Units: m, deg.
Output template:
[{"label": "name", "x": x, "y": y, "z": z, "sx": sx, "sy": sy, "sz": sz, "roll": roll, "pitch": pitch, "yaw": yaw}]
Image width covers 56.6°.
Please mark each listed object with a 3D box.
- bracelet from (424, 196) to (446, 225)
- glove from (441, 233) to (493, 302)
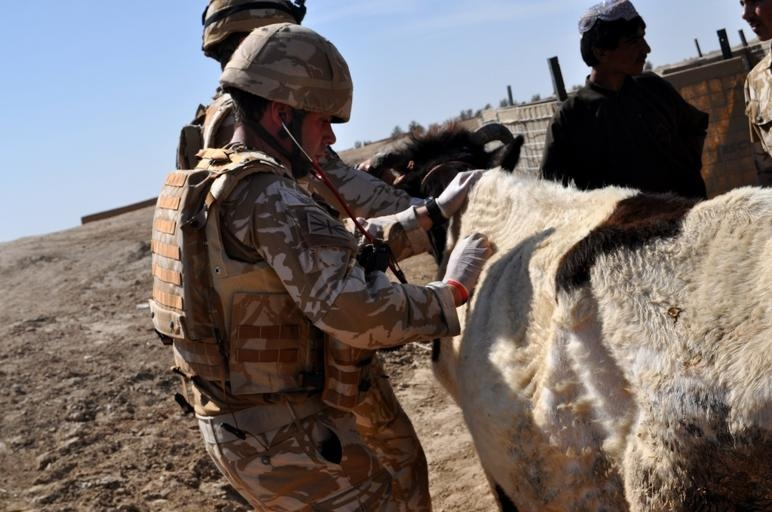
[{"label": "bracelet", "x": 0.303, "y": -0.258, "z": 4.414, "sx": 0.110, "sy": 0.168, "sz": 0.160, "roll": -29, "pitch": -18, "yaw": 7}, {"label": "glove", "x": 0.457, "y": 0.071, "z": 3.926, "sx": 0.113, "sy": 0.228, "sz": 0.389, "roll": -3, "pitch": 45, "yaw": 45}]
